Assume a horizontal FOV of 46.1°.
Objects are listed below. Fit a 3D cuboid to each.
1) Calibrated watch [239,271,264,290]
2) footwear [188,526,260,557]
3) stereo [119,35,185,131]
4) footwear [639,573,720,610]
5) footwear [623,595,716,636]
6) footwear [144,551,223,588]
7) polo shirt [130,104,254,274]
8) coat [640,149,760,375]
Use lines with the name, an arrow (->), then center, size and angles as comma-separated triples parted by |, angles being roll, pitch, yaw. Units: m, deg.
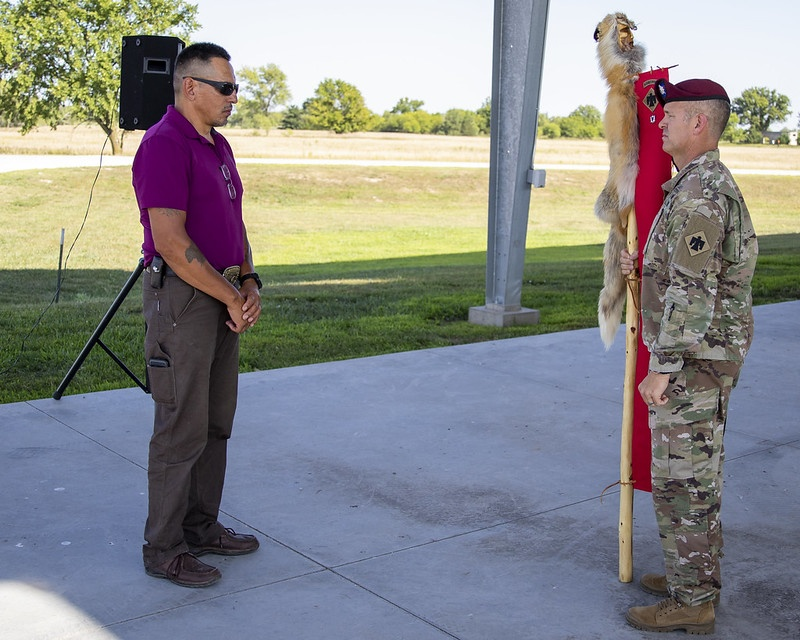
Calibrated watch -> -0.740, -0.189, 4.662 | 0.138, 0.043, 0.088 | -9, 27, -12
footwear -> -0.859, 1.100, 4.690 | 0.424, 0.115, 0.126 | 0, 3, -7
stereo -> -1.678, -1.617, 6.525 | 0.506, 0.574, 0.474 | 15, 18, 31
footwear -> 1.262, 1.213, 4.308 | 0.359, 0.114, 0.124 | 6, 22, 22
footwear -> 1.200, 1.291, 4.179 | 0.402, 0.138, 0.145 | 3, 9, 13
footwear -> -1.020, 1.165, 4.433 | 0.334, 0.086, 0.151 | 4, 6, 14
polo shirt -> -0.970, -0.590, 4.346 | 0.222, 0.766, 0.511 | 4, 14, 31
coat -> 1.258, -0.239, 3.939 | 0.472, 0.923, 0.346 | -1, 13, 10
